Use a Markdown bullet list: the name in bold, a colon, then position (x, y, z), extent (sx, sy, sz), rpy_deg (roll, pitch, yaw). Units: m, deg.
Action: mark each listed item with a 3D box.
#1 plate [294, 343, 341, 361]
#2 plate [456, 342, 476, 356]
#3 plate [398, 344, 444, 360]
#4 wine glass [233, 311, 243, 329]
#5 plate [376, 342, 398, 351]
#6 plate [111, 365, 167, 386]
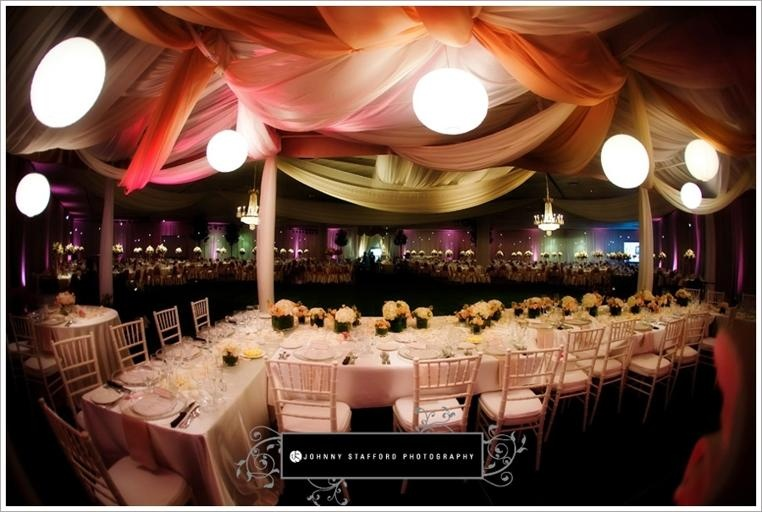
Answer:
- **plate**: position (-0.703, 1.075, 5.321), extent (0.483, 0.123, 0.459), rpy_deg (0, -1, -10)
- **plate**: position (0.995, 1.065, 5.497), extent (0.233, 0.095, 0.320), rpy_deg (0, -1, 16)
- **plate**: position (0.449, 1.074, 5.319), extent (0.472, 0.103, 0.459), rpy_deg (0, -1, 2)
- **wine glass**: position (-1.827, 0.829, 6.117), extent (0.134, 0.213, 0.137), rpy_deg (0, -16, 2)
- **plate**: position (0.079, 1.041, 5.484), extent (0.234, 0.070, 0.195), rpy_deg (0, -1, -5)
- **plate**: position (-2.412, 1.176, 4.729), extent (0.424, 0.195, 0.456), rpy_deg (1, -1, -44)
